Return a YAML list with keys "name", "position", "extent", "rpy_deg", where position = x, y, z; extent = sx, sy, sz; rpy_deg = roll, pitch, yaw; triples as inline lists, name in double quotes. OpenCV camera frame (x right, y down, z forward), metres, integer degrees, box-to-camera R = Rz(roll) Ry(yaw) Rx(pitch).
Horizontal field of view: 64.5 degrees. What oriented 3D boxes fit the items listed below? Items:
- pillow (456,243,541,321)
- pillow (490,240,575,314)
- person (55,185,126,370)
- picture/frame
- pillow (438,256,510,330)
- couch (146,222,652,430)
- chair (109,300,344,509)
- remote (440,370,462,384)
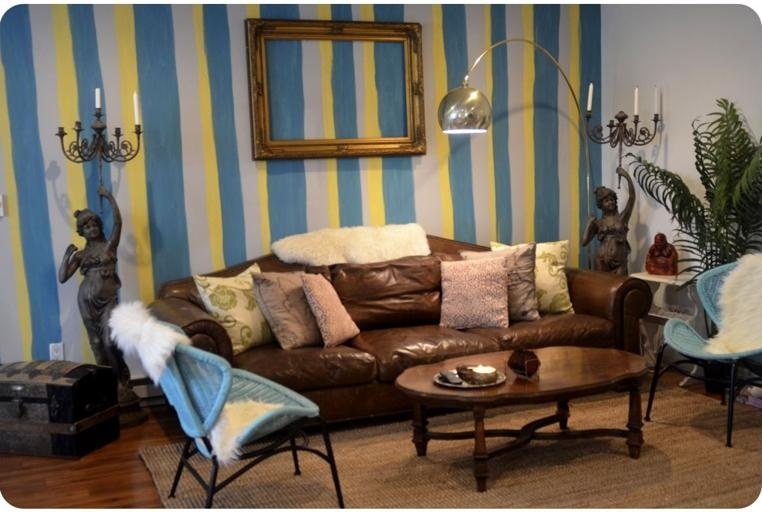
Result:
- name: "pillow"
  position: [0.914, 0.233, 4.622]
  extent: [0.570, 0.603, 0.243]
  rpy_deg: [-4, -9, 15]
- name: "pillow"
  position: [1.086, 0.191, 4.872]
  extent: [0.675, 0.713, 0.284]
  rpy_deg: [-3, 17, -13]
- name: "person"
  position: [-2.084, 0.175, 4.381]
  extent: [0.480, 1.304, 0.342]
  rpy_deg: [-7, 9, -11]
- name: "picture/frame"
  position: [-0.441, -1.402, 5.008]
  extent: [1.312, 0.949, 0.069]
  rpy_deg: [-1, -1, -14]
- name: "pillow"
  position: [0.723, 0.305, 4.575]
  extent: [0.525, 0.533, 0.204]
  rpy_deg: [-3, -13, 10]
- name: "couch"
  position: [0.245, 0.596, 4.673]
  extent: [3.473, 1.197, 1.089]
  rpy_deg: [-7, 5, -16]
- name: "chair"
  position: [-0.878, 0.821, 3.386]
  extent: [1.052, 1.189, 0.671]
  rpy_deg: [-8, 9, -21]
- name: "remote"
  position: [0.408, 0.718, 3.557]
  extent: [0.113, 0.043, 0.152]
  rpy_deg: [-5, 7, -6]
